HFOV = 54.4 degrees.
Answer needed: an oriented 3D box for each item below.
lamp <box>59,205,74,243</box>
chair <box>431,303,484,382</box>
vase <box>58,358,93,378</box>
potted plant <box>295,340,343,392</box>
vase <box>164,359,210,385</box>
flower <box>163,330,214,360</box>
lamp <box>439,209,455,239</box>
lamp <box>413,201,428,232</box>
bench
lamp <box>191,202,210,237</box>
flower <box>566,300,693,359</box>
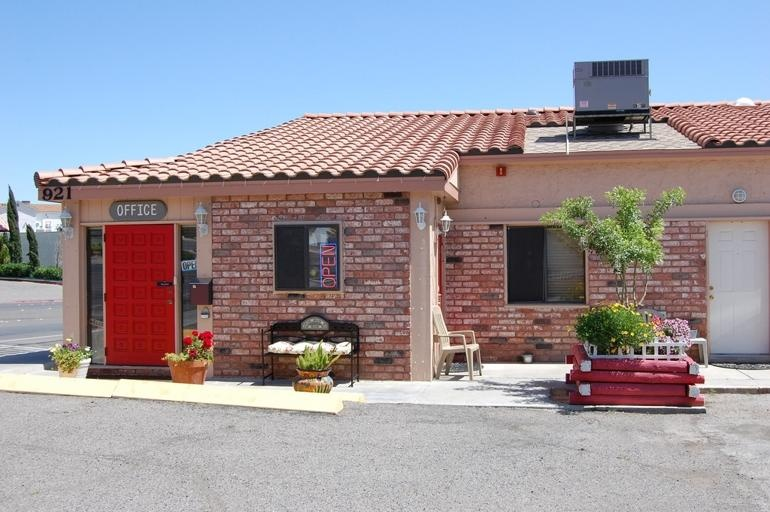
[{"bbox_3d":[-6.647,-0.676,15.650,0.262,0.725,0.224,-4,10,-22],"label":"lamp"},{"bbox_3d":[1.514,1.764,15.691,1.466,1.868,1.348,-2,-2,14],"label":"chair"},{"bbox_3d":[-6.092,2.177,14.700,0.458,0.293,0.442,-2,-6,16],"label":"vase"},{"bbox_3d":[-1.247,2.027,13.675,0.965,1.044,0.817,2,-12,-2],"label":"potted plant"},{"bbox_3d":[-3.682,2.178,14.083,0.582,0.353,0.558,1,-1,-36],"label":"vase"},{"bbox_3d":[-3.650,1.736,14.263,0.788,0.505,0.776,1,5,24],"label":"flower"},{"bbox_3d":[1.335,-0.688,16.356,0.293,0.634,0.823,1,9,8],"label":"lamp"},{"bbox_3d":[0.708,-0.773,14.607,0.265,0.540,0.114,0,9,1],"label":"lamp"},{"bbox_3d":[-1.438,1.878,14.650,1.889,1.169,0.573,-1,4,9],"label":"bench"},{"bbox_3d":[-3.756,-0.748,15.262,0.304,0.683,0.191,-1,9,-5],"label":"lamp"},{"bbox_3d":[4.354,1.338,13.214,1.442,0.716,1.339,-1,6,-7],"label":"flower"}]
